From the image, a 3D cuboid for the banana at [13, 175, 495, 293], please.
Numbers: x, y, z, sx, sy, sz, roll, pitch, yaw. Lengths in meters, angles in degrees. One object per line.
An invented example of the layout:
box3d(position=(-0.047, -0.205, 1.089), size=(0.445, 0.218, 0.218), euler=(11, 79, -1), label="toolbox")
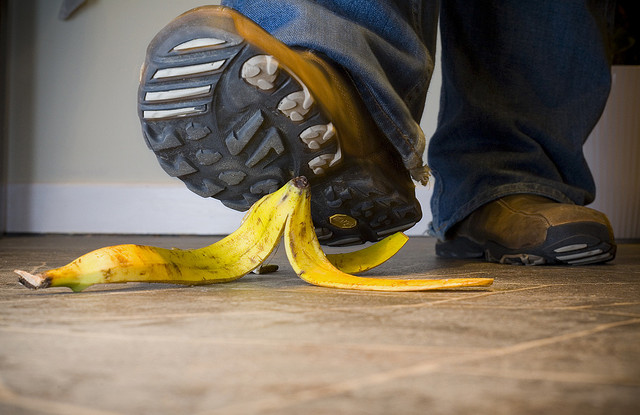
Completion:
box3d(position=(-0.117, 0.061, 0.996), size=(0.822, 0.177, 0.118), euler=(1, -2, 8), label="banana")
